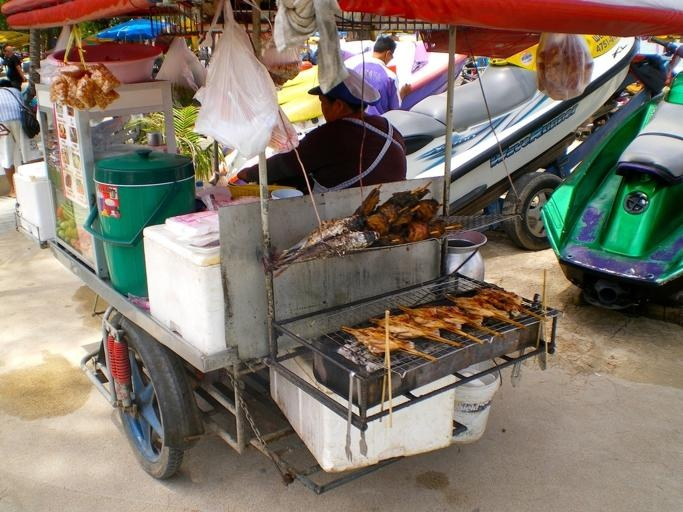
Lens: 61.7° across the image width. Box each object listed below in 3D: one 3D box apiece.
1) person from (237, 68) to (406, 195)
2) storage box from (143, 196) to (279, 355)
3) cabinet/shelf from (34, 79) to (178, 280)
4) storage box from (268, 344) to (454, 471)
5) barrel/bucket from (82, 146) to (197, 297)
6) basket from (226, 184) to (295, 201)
[{"bbox_3d":[-0.161,-0.951,4.524,1.401,1.073,0.980,9,20,19],"label":"person"},{"bbox_3d":[-0.710,0.077,3.258,0.564,0.942,0.537,18,26,38],"label":"storage box"},{"bbox_3d":[-1.672,-0.625,4.154,0.944,1.245,0.880,8,22,9],"label":"cabinet/shelf"},{"bbox_3d":[0.068,0.866,3.574,1.040,0.673,0.908,-2,21,-31],"label":"storage box"},{"bbox_3d":[-1.296,-0.295,3.568,0.587,0.987,0.573,1,20,0],"label":"barrel/bucket"},{"bbox_3d":[-0.610,-0.466,4.033,0.265,0.106,0.213,-5,10,16],"label":"basket"}]
